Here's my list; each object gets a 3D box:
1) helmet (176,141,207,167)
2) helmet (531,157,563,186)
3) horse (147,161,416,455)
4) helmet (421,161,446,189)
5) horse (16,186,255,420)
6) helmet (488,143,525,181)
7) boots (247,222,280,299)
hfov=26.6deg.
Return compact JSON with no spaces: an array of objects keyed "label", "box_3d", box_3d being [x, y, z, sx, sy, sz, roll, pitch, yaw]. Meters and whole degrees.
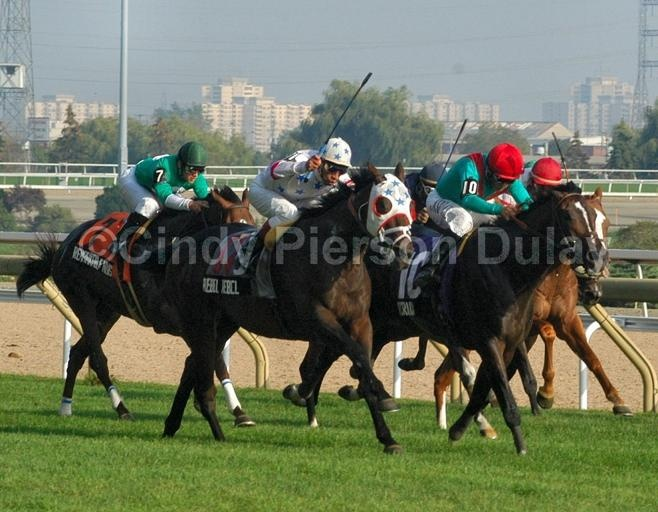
[{"label":"helmet","box_3d":[-1.134,-0.838,11.617,0.168,0.206,0.242,2,42,-18]},{"label":"helmet","box_3d":[1.812,-0.696,11.511,0.242,0.212,0.217,1,19,16]},{"label":"horse","box_3d":[-0.419,0.515,10.894,2.767,2.095,0.721,-9,-12,42]},{"label":"helmet","box_3d":[0.943,-0.733,12.169,0.168,0.205,0.234,18,34,15]},{"label":"horse","box_3d":[-1.463,0.407,11.653,2.641,2.006,0.651,-3,-3,22]},{"label":"helmet","box_3d":[1.396,-0.726,11.009,0.229,0.309,0.265,-11,-34,-12]},{"label":"boots","box_3d":[-0.497,0.068,10.632,0.319,0.471,0.162,8,-3,-24]}]
